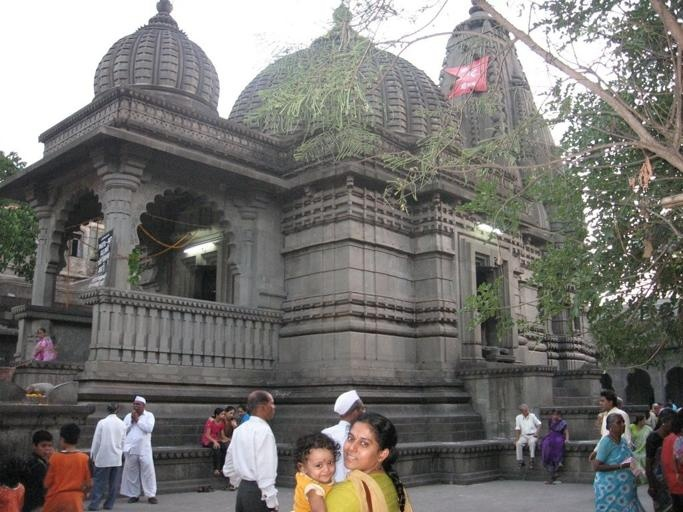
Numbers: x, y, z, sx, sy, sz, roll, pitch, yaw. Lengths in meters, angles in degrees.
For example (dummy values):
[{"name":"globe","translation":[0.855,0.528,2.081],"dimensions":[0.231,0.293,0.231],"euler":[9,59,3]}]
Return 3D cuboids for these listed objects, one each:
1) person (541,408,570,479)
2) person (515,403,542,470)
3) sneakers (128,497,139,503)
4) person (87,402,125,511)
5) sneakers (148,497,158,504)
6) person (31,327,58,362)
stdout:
[{"name":"person","translation":[4.072,3.626,13.144],"dimensions":[0.502,1.355,0.420],"euler":[-5,-16,17]},{"name":"person","translation":[3.677,3.553,13.610],"dimensions":[0.513,1.206,0.413],"euler":[-5,-16,16]},{"name":"sneakers","translation":[-3.351,3.911,11.055],"dimensions":[0.167,0.080,0.115],"euler":[5,-17,-19]},{"name":"person","translation":[-3.609,3.064,10.570],"dimensions":[0.488,1.577,0.737],"euler":[5,-17,-18]},{"name":"sneakers","translation":[-3.001,3.883,10.920],"dimensions":[0.068,0.076,0.177],"euler":[9,-18,-37]},{"name":"person","translation":[-6.181,1.865,14.309],"dimensions":[0.442,0.730,0.599],"euler":[6,-17,-23]}]
